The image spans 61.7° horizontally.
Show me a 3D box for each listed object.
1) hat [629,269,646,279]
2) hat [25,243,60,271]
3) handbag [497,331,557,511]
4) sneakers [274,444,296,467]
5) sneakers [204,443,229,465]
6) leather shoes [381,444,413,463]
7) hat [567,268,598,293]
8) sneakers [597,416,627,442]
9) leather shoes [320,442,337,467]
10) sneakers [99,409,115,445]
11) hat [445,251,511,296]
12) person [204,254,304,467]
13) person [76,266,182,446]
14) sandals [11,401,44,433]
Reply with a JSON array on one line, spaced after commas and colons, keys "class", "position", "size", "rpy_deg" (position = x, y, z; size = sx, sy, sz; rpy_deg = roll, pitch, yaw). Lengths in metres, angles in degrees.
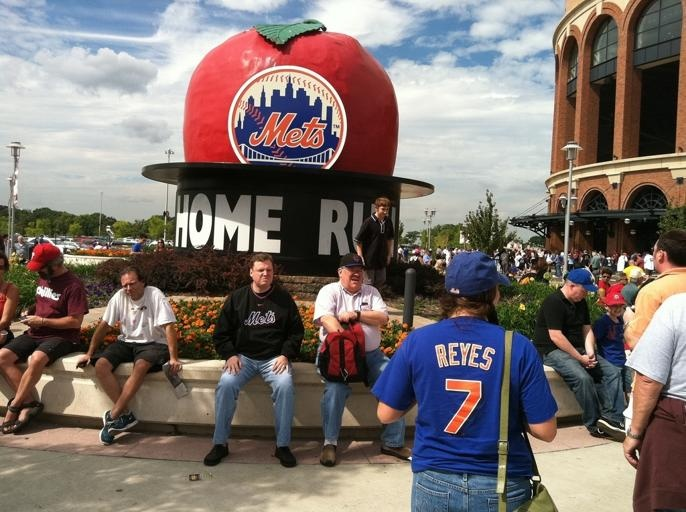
[{"class": "hat", "position": [5.049, 0.323, 9.872], "size": [0.259, 0.089, 0.184], "rpy_deg": [-6, 14, -19]}, {"class": "hat", "position": [-3.399, -0.018, 6.475], "size": [0.236, 0.235, 0.381], "rpy_deg": [12, 30, 28]}, {"class": "handbag", "position": [1.094, 0.974, 3.373], "size": [0.349, 1.016, 0.325], "rpy_deg": [4, 9, 16]}, {"class": "sneakers", "position": [-0.565, 1.953, 5.652], "size": [0.221, 0.169, 0.236], "rpy_deg": [1, 9, -7]}, {"class": "sneakers", "position": [-1.248, 1.923, 5.641], "size": [0.164, 0.162, 0.280], "rpy_deg": [3, 9, 9]}, {"class": "leather shoes", "position": [0.545, 1.994, 5.839], "size": [0.299, 0.118, 0.113], "rpy_deg": [1, 1, 28]}, {"class": "hat", "position": [2.607, 0.258, 6.239], "size": [0.317, 0.195, 0.215], "rpy_deg": [23, 6, 0]}, {"class": "sneakers", "position": [2.992, 1.922, 6.392], "size": [0.343, 0.157, 0.120], "rpy_deg": [32, -17, 22]}, {"class": "leather shoes", "position": [-0.141, 1.967, 5.672], "size": [0.128, 0.148, 0.359], "rpy_deg": [1, -10, -2]}, {"class": "sneakers", "position": [-2.483, 1.775, 6.022], "size": [0.142, 0.357, 0.129], "rpy_deg": [-17, -15, 19]}, {"class": "hat", "position": [0.851, 0.086, 3.679], "size": [0.472, 0.266, 0.336], "rpy_deg": [-17, 13, -34]}, {"class": "person", "position": [-0.884, 0.996, 5.866], "size": [0.929, 1.946, 0.880], "rpy_deg": [1, 9, -6]}, {"class": "person", "position": [-2.303, 1.020, 6.265], "size": [1.099, 1.739, 0.790], "rpy_deg": [0, 9, -14]}, {"class": "sandals", "position": [-3.496, 1.732, 6.233], "size": [0.433, 0.171, 0.158], "rpy_deg": [-30, -16, -45]}]
